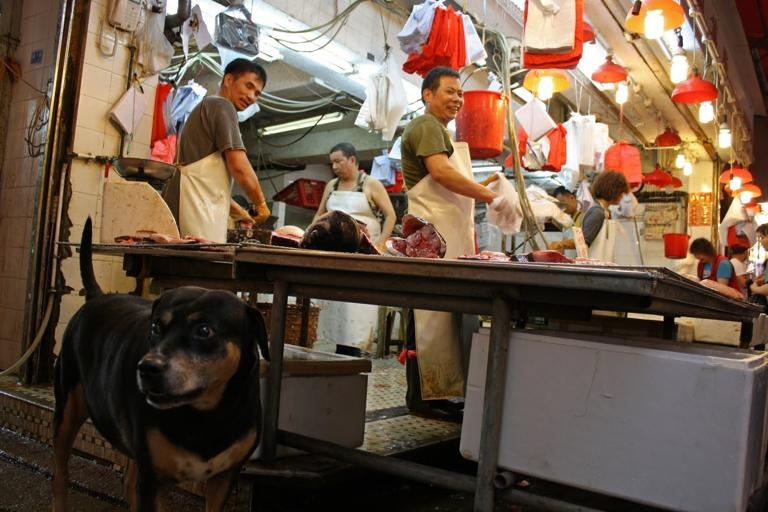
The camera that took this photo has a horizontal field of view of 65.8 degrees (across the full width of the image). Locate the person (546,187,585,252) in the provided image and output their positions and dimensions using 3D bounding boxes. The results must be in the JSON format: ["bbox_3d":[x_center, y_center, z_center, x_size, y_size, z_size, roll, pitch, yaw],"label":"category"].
[{"bbox_3d":[2.377,-0.539,7.715,0.303,0.672,1.167,-9,6,33],"label":"person"}]

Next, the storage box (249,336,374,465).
[{"bbox_3d":[-0.411,0.845,3.576,0.634,0.589,0.381,8,-3,-27],"label":"storage box"}]

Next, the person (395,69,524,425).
[{"bbox_3d":[0.559,-0.160,4.486,0.896,2.531,0.900,2,-8,1],"label":"person"}]

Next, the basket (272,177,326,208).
[{"bbox_3d":[-1.727,-1.298,12.392,0.988,0.588,0.971,-4,-17,-13],"label":"basket"}]
